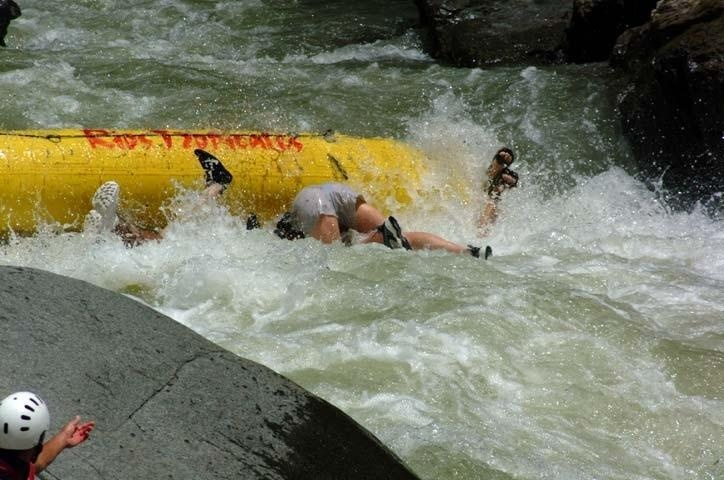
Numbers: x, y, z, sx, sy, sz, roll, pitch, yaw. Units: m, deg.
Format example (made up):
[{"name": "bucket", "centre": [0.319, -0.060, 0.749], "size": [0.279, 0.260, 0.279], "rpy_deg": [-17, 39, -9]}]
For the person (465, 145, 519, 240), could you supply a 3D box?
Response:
[{"name": "person", "centre": [1.737, -0.613, 12.884], "size": [0.366, 0.491, 1.246], "rpy_deg": [32, 63, -18]}]

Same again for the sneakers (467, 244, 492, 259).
[{"name": "sneakers", "centre": [1.376, 0.146, 11.591], "size": [0.243, 0.145, 0.206], "rpy_deg": [-17, 91, 1]}]

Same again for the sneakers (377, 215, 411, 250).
[{"name": "sneakers", "centre": [0.374, -0.061, 11.801], "size": [0.438, 0.289, 0.184], "rpy_deg": [49, 5, 3]}]

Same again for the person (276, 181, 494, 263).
[{"name": "person", "centre": [0.093, 0.024, 11.916], "size": [1.848, 1.159, 0.609], "rpy_deg": [6, 77, -3]}]
